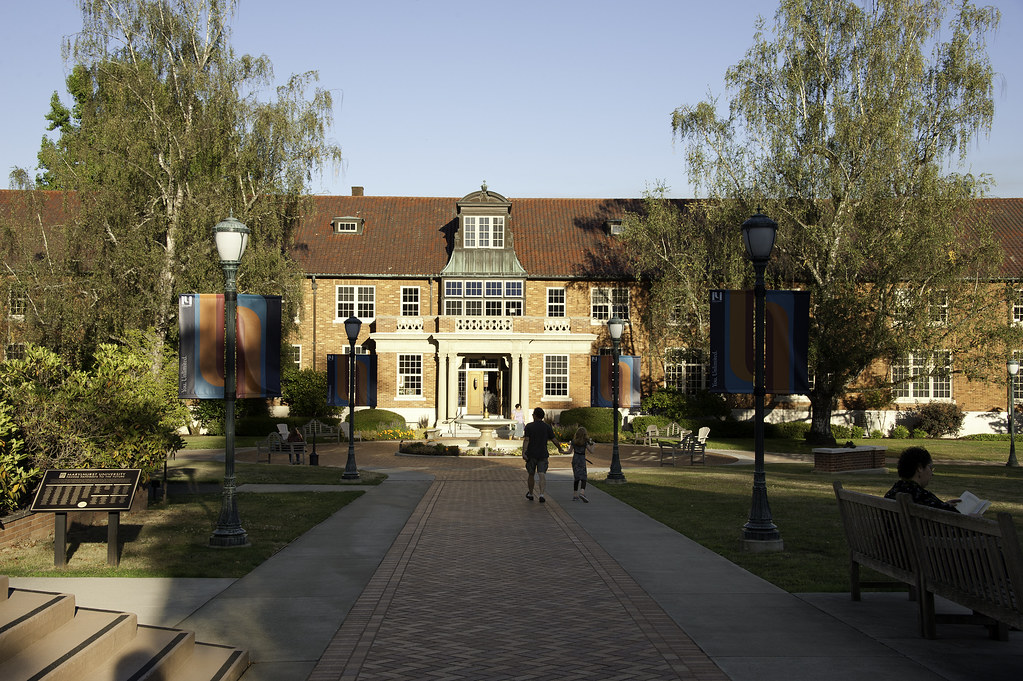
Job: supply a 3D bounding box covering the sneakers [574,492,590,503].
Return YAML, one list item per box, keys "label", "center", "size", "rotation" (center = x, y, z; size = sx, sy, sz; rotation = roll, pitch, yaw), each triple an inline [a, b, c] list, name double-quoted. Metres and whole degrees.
- label: "sneakers"
  center: [1.705, 3.769, 24.809]
  size: [0.147, 0.174, 0.445]
  rotation: [27, -15, 34]
